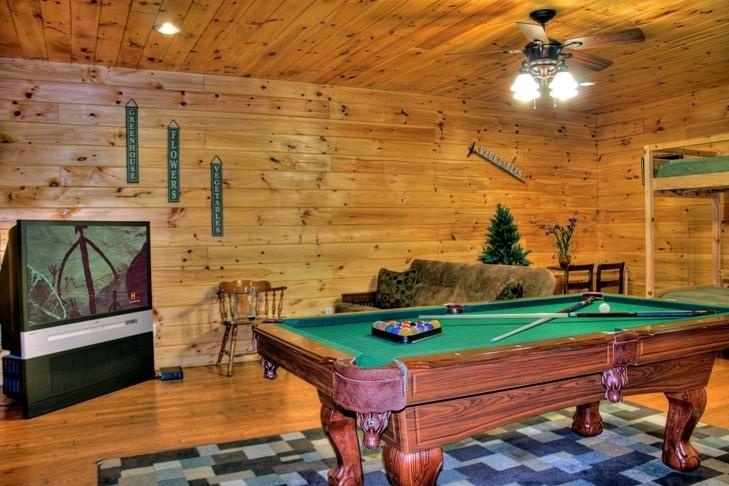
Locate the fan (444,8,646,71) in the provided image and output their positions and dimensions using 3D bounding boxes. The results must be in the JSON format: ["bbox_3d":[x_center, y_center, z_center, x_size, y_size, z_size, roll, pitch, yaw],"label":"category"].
[{"bbox_3d":[1.648,-1.895,4.694,1.226,0.591,0.928,-1,2,-23],"label":"fan"}]

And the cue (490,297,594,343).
[{"bbox_3d":[1.379,0.540,3.728,0.234,0.090,1.970,-18,-9,38],"label":"cue"}]
